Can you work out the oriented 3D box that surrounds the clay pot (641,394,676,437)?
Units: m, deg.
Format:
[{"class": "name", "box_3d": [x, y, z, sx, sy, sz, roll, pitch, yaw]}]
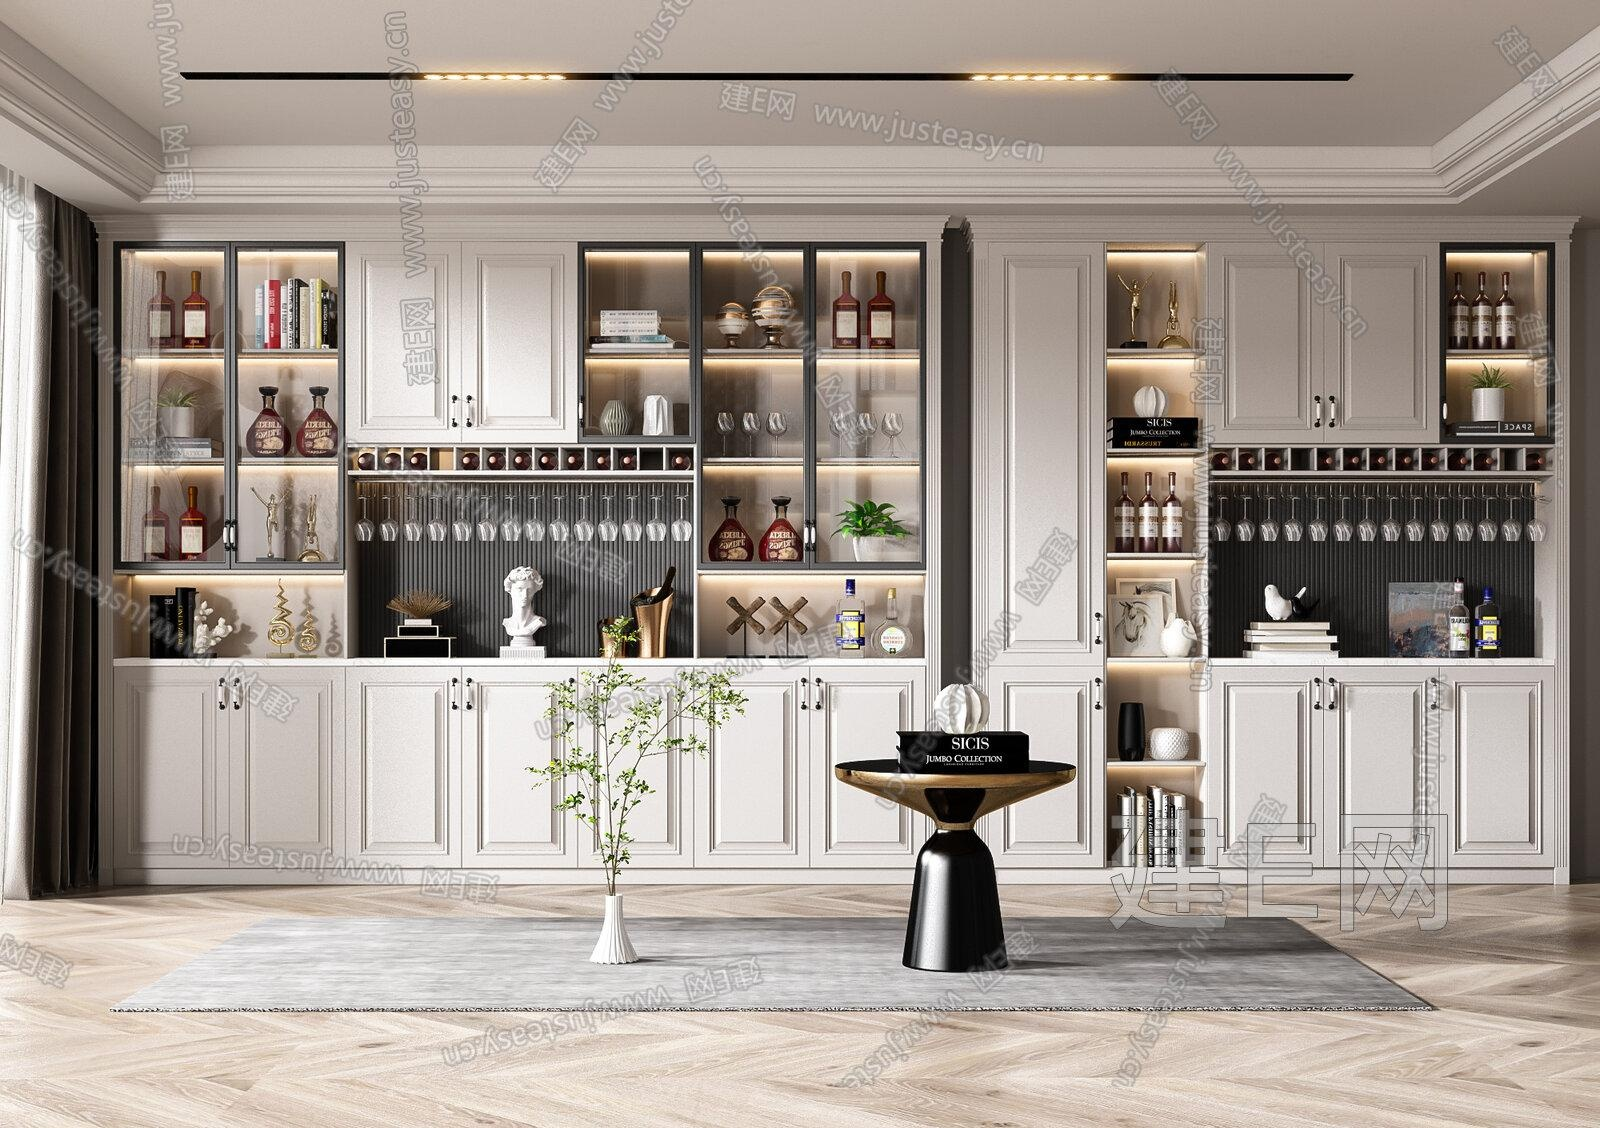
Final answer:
[{"class": "clay pot", "box_3d": [-0.840, -0.874, 8.536, 0.221, 0.269, 0.215, -1, -4, 0]}]

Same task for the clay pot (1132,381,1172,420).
[{"class": "clay pot", "box_3d": [2.072, -0.978, 8.589, 0.198, 0.185, 0.194, 0, 4, 0]}]

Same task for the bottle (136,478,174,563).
[{"class": "bottle", "box_3d": [-3.777, -0.244, 8.483, 0.145, 0.420, 0.037, 0, 4, -5]}]

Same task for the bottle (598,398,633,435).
[{"class": "bottle", "box_3d": [-1.095, -0.867, 8.539, 0.201, 0.226, 0.197, 0, 1, -19]}]

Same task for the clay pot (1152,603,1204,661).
[{"class": "clay pot", "box_3d": [2.220, 0.444, 8.508, 0.221, 0.278, 0.224, -1, 2, 0]}]

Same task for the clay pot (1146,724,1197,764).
[{"class": "clay pot", "box_3d": [2.188, 1.060, 8.479, 0.200, 0.169, 0.197, 0, -6, 0]}]

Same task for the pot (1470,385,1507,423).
[{"class": "pot", "box_3d": [4.044, -0.936, 8.520, 0.215, 0.203, 0.192, 1, -5, 18]}]

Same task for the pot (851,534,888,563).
[{"class": "pot", "box_3d": [0.418, -0.084, 8.490, 0.158, 0.125, 0.167, 1, 3, 0]}]

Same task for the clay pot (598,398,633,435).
[{"class": "clay pot", "box_3d": [-1.095, -0.866, 8.538, 0.201, 0.226, 0.197, 0, 1, 0]}]

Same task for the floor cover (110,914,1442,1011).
[{"class": "floor cover", "box_3d": [-0.168, 1.876, 6.834, 5.458, 0.059, 1.270, 0, 5, 0]}]

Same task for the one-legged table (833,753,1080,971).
[{"class": "one-legged table", "box_3d": [0.751, 1.417, 6.960, 0.979, 0.723, 0.917, -1, -4, 4]}]
